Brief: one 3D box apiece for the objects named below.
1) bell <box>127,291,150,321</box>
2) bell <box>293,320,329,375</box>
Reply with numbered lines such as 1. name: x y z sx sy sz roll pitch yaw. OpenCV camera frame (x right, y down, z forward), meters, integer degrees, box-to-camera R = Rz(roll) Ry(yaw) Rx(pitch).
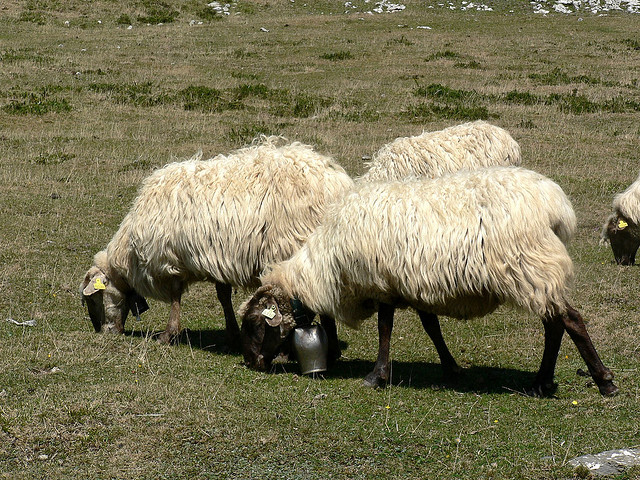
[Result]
1. bell: -3.254 1.049 17.784 0.564 0.520 0.369 3 9 18
2. bell: -0.172 1.727 16.428 0.674 0.916 0.541 -10 10 -1
